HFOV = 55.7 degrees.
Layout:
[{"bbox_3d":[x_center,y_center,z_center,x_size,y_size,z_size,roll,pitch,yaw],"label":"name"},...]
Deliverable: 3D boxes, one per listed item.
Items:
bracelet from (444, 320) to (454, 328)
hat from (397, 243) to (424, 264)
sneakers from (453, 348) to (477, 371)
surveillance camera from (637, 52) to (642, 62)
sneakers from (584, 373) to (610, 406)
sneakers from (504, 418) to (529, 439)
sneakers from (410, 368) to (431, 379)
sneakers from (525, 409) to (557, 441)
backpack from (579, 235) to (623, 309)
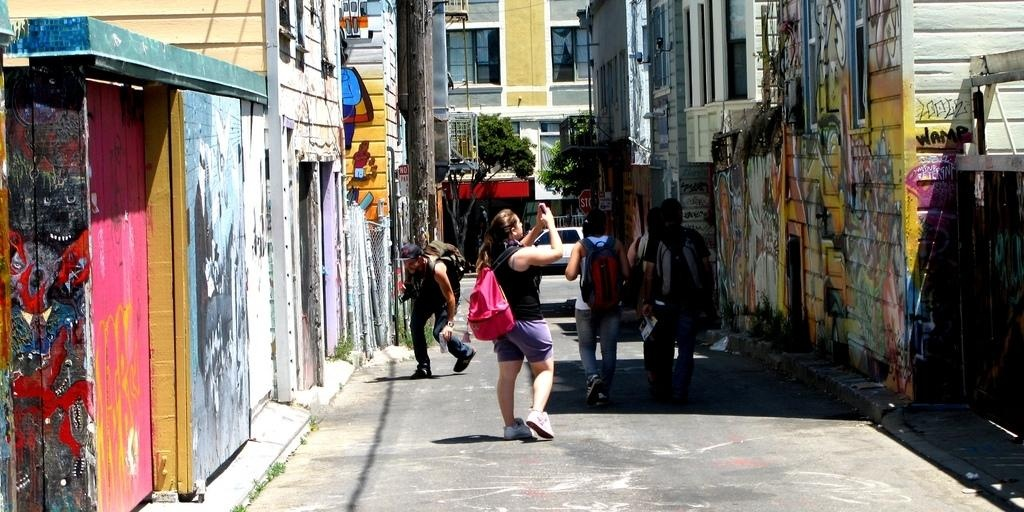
[{"bbox_3d":[-1.030,1.115,15.829,0.197,0.099,0.273,-1,1,-3],"label":"bracelet"},{"bbox_3d":[-1.778,0.031,17.163,0.457,0.331,0.625,-4,17,-4],"label":"hat"},{"bbox_3d":[-0.826,1.904,17.416,0.243,0.577,0.228,26,35,-23],"label":"sneakers"},{"bbox_3d":[4.830,-7.465,36.579,0.286,0.423,0.126,-3,-17,16],"label":"surveillance camera"},{"bbox_3d":[1.259,1.983,14.244,0.229,0.518,0.215,-10,38,-16],"label":"sneakers"},{"bbox_3d":[0.078,2.288,12.662,0.362,0.209,0.178,1,0,-25],"label":"sneakers"},{"bbox_3d":[-1.605,2.104,17.206,0.360,0.159,0.159,2,-1,-6],"label":"sneakers"},{"bbox_3d":[0.386,2.221,12.601,0.216,0.259,0.562,-9,-32,34],"label":"sneakers"},{"bbox_3d":[1.317,0.272,14.172,0.622,1.102,0.299,-1,7,5],"label":"backpack"}]
